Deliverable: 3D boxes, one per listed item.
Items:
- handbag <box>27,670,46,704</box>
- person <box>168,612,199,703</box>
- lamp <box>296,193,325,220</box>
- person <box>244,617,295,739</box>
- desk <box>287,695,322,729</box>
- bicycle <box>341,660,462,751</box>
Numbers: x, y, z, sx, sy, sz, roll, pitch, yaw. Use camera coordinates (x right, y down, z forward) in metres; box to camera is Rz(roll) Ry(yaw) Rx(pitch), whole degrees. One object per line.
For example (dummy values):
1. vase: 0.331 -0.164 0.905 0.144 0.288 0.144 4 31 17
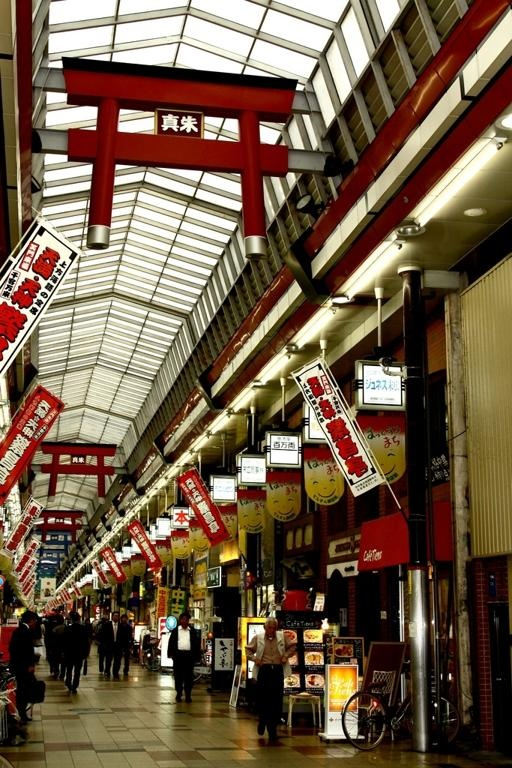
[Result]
1. handbag: -2.520 3.465 7.758 0.181 0.332 0.343 5 -18 -17
2. person: -1.357 5.039 12.523 0.556 1.517 1.465 1 -17 -6
3. lamp: 0.791 -2.361 9.225 0.453 0.306 0.192 20 -64 -22
4. person: 0.133 3.321 7.697 0.466 1.263 0.611 -8 -18 23
5. desk: 0.665 4.341 9.140 0.505 0.564 0.510 2 -22 -5
6. bicycle: 1.458 3.492 7.228 1.348 0.848 0.670 -1 -9 -16
